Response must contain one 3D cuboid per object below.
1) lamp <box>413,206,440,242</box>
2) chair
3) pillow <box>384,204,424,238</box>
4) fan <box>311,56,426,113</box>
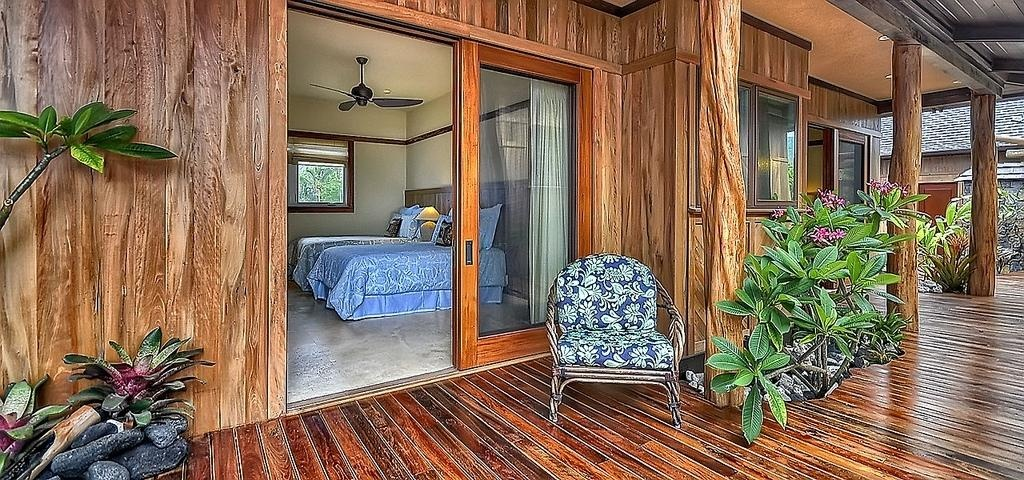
[{"bbox_3d":[-1.562,-0.317,10.298,0.647,0.723,0.610,1,0,-5],"label":"lamp"},{"bbox_3d":[1.134,1.106,6.159,1.791,1.426,1.714,-8,13,-36],"label":"chair"},{"bbox_3d":[-2.128,-0.366,10.935,0.765,0.691,0.239,-2,-23,45],"label":"pillow"},{"bbox_3d":[-2.600,-2.698,9.765,1.552,0.727,1.644,-1,2,-24],"label":"fan"}]
